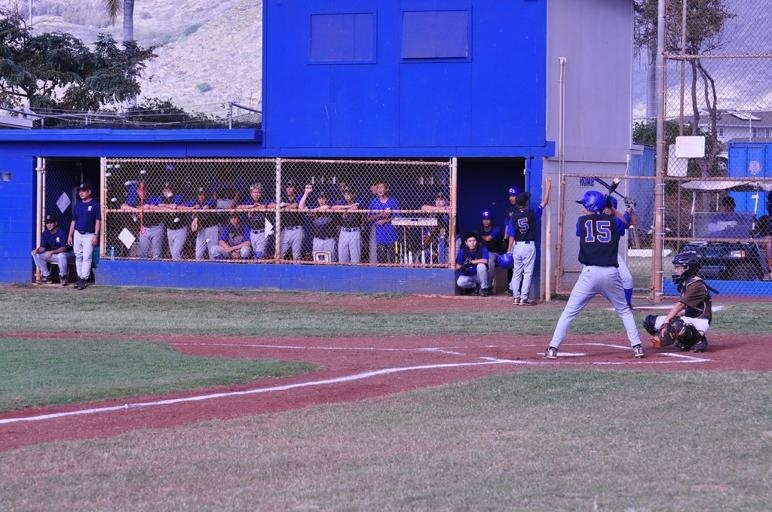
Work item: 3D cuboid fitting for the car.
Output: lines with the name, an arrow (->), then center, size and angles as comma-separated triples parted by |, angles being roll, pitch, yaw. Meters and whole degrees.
car -> 8.863, -0.293, 33.608 | 1.707, 1.393, 2.585 | -1, -1, 21

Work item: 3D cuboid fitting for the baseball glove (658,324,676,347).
baseball glove -> 5.740, 1.604, 26.322 | 0.355, 0.363, 0.446 | 0, 1, 1

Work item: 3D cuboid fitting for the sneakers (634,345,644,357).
sneakers -> 5.056, 1.894, 25.822 | 0.211, 0.264, 0.332 | 1, 3, 9

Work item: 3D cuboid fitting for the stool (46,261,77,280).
stool -> -8.705, 0.335, 34.617 | 0.682, 0.680, 0.540 | 0, -8, 6

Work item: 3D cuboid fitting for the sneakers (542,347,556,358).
sneakers -> 3.268, 1.931, 25.817 | 0.270, 0.246, 0.617 | 2, 0, 1
